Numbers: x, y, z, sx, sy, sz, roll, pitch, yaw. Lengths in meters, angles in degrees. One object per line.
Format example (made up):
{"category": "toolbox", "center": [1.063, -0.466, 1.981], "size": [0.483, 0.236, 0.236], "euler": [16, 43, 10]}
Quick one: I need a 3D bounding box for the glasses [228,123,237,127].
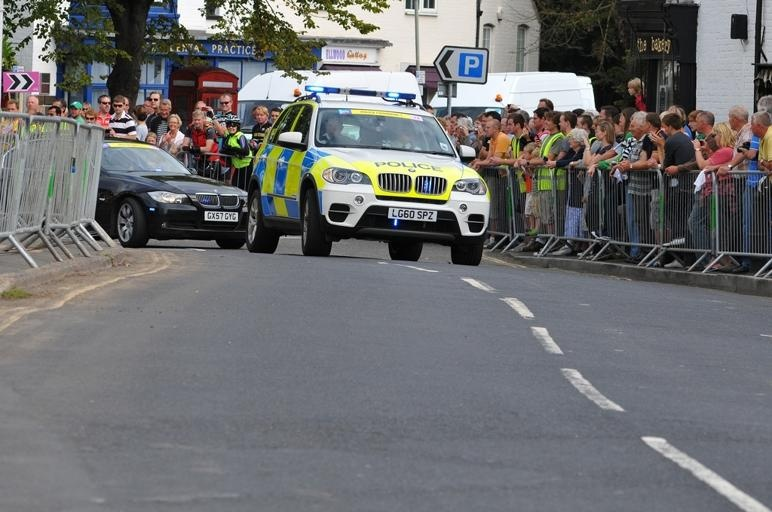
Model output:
{"category": "glasses", "center": [-4.078, -3.513, 20.570], "size": [0.219, 0.104, 0.149], "euler": [1, 6, -13]}

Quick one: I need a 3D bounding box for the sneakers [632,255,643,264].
{"category": "sneakers", "center": [4.693, 0.073, 14.344], "size": [0.152, 0.146, 0.248], "euler": [2, 6, 0]}

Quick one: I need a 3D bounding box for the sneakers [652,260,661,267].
{"category": "sneakers", "center": [4.944, 0.136, 13.958], "size": [0.194, 0.112, 0.094], "euler": [1, 6, -11]}

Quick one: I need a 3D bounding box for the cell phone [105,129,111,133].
{"category": "cell phone", "center": [-7.136, -3.224, 19.778], "size": [0.121, 0.103, 0.226], "euler": [-1, 7, -25]}

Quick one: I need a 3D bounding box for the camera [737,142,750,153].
{"category": "camera", "center": [6.040, -1.841, 12.917], "size": [0.179, 0.070, 0.134], "euler": [-25, 11, 49]}

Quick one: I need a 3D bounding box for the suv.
{"category": "suv", "center": [-0.461, -1.539, 14.185], "size": [4.698, 3.398, 2.826], "euler": [8, 8, 40]}
